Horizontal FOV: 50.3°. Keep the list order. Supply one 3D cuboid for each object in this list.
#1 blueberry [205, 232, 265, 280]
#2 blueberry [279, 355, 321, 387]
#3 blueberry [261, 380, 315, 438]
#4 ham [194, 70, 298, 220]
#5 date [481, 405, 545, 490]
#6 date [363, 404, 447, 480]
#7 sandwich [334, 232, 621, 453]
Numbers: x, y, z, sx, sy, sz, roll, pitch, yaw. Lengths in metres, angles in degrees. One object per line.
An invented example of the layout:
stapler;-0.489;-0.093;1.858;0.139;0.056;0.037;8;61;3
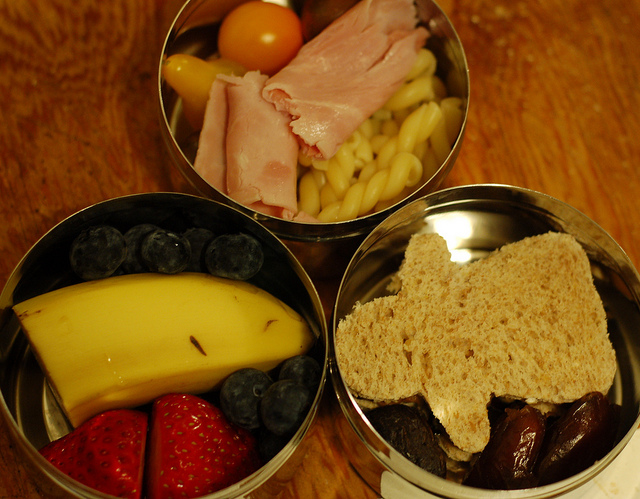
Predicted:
blueberry;-0.144;0.011;1.164;0.079;0.077;0.069;8;29;17
blueberry;-0.032;0.200;1.126;0.045;0.061;0.057;-14;74;-13
blueberry;-0.053;0.249;1.125;0.093;0.079;0.094;1;26;8
ham;-0.138;-0.208;1.292;0.192;0.091;0.261;2;63;-5
date;0.326;0.339;1.137;0.067;0.051;0.168;18;72;20
date;0.154;0.332;1.177;0.151;0.095;0.121;3;61;-4
sandwich;0.232;0.158;1.263;0.484;0.067;0.433;-2;49;-28
